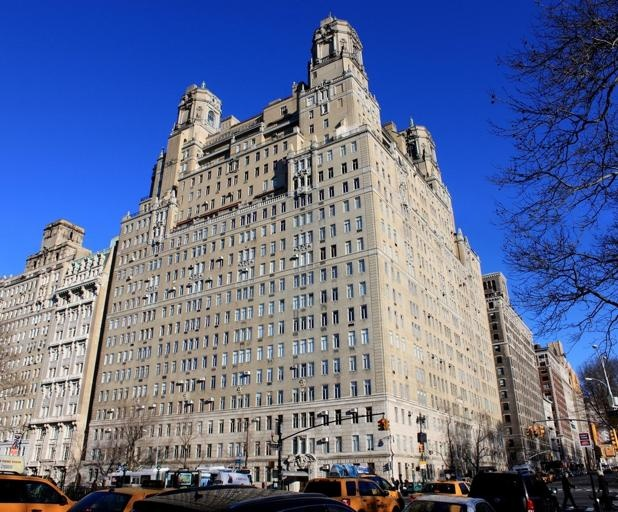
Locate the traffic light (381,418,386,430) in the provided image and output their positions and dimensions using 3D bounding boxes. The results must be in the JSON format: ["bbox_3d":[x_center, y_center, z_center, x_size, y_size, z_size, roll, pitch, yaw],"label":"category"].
[{"bbox_3d":[5.959,13.433,41.903,0.360,0.805,0.816,-8,-28,11],"label":"traffic light"}]
